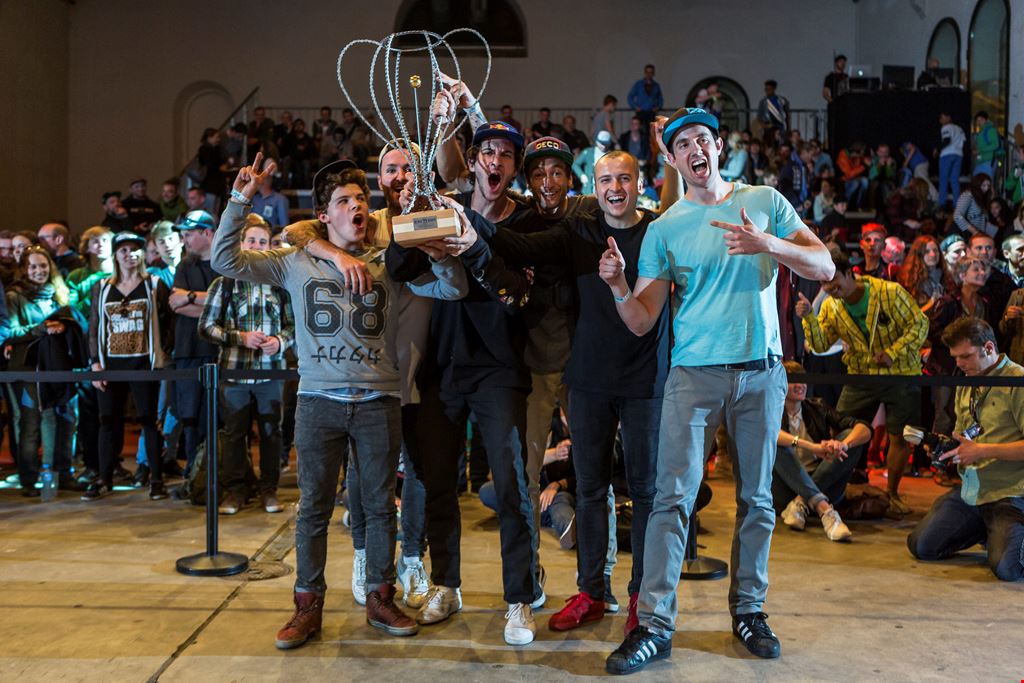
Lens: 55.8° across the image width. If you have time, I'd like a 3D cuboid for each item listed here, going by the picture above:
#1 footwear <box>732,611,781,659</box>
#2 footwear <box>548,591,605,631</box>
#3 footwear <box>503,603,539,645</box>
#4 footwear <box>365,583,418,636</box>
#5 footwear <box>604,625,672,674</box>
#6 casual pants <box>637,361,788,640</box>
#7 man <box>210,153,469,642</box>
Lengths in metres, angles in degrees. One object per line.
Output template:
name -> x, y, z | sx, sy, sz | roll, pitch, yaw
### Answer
footwear -> 1.607, 1.915, 6.434 | 0.194, 0.241, 0.542 | 7, 2, -15
footwear -> 0.434, 1.846, 6.585 | 0.421, 0.192, 0.179 | 3, -11, -30
footwear -> 0.046, 1.875, 6.461 | 0.210, 0.240, 0.178 | 0, 12, -2
footwear -> -0.817, 1.798, 6.542 | 0.387, 0.308, 0.179 | 5, 13, 23
footwear -> 0.819, 1.978, 6.238 | 0.470, 0.250, 0.136 | -7, 14, -31
casual pants -> 1.311, 1.072, 6.354 | 0.970, 1.833, 0.521 | 0, 12, 0
man -> -1.254, 0.375, 6.527 | 1.122, 3.114, 0.957 | -2, 12, -8
